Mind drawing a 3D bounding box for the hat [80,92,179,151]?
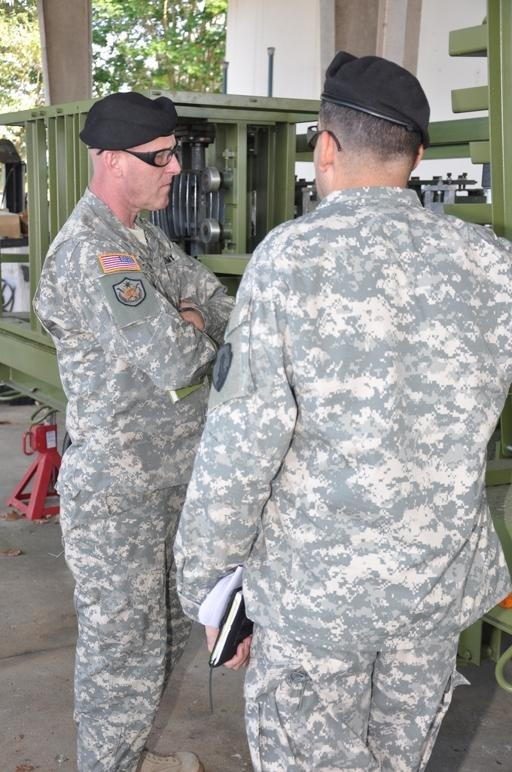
[{"bbox_3d":[-0.346,-0.704,2.126,0.245,0.107,0.171,-2,29,17],"label":"hat"}]

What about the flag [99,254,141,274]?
[{"bbox_3d":[-0.352,-0.317,1.981,0.109,0.051,0.077,-2,10,-21],"label":"flag"}]

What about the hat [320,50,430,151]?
[{"bbox_3d":[0.179,-0.486,1.334,0.182,0.095,0.134,36,31,20],"label":"hat"}]

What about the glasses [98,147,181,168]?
[{"bbox_3d":[-0.294,-0.639,2.141,0.117,0.030,0.105,-1,11,-20],"label":"glasses"}]
